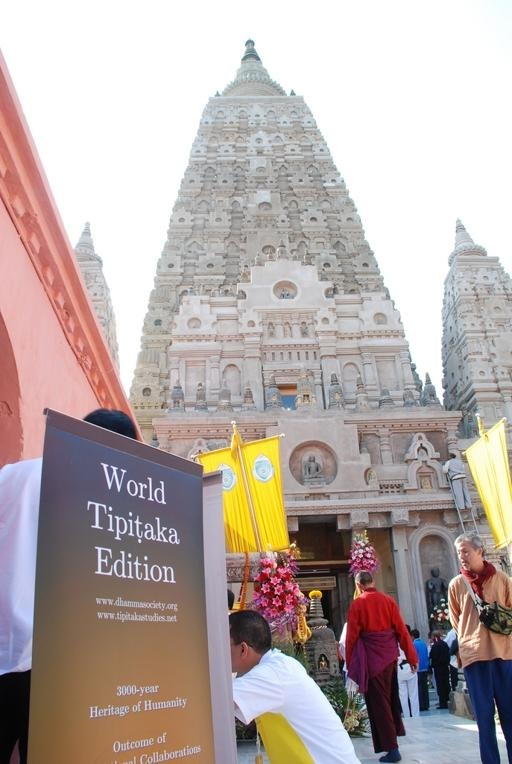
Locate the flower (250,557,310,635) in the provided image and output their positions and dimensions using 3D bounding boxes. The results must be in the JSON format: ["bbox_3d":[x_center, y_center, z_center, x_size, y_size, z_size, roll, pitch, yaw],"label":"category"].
[{"bbox_3d":[0.319,2.700,7.646,0.845,1.058,0.751,15,-24,-25],"label":"flower"}]

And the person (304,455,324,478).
[{"bbox_3d":[1.538,2.341,16.039,0.505,0.760,0.330,-7,-23,1],"label":"person"}]

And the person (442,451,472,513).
[{"bbox_3d":[5.488,2.792,15.984,0.538,1.496,0.405,-13,-23,15],"label":"person"}]
